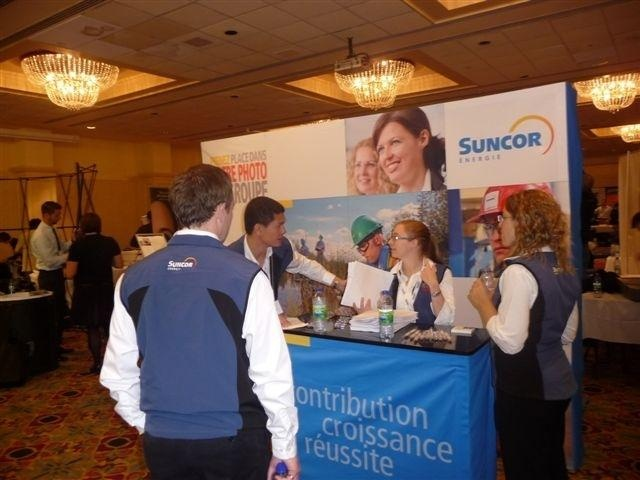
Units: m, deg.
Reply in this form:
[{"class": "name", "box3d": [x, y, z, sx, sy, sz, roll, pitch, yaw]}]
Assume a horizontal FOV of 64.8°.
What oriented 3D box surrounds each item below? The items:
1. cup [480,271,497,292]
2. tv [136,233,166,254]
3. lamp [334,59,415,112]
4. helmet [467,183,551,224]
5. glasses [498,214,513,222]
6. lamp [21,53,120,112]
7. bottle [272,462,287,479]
[{"class": "cup", "box3d": [1.205, 0.286, 3.578, 0.094, 0.136, 0.123, -19, 7, 17]}, {"class": "tv", "box3d": [-2.086, 0.040, 6.241, 0.453, 0.325, 0.110, 4, 0, 38]}, {"class": "lamp", "box3d": [0.874, -2.366, 7.508, 0.798, 0.428, 0.808, 1, 1, -4]}, {"class": "helmet", "box3d": [1.324, -0.253, 3.581, 0.340, 0.193, 0.247, -3, 1, 9]}, {"class": "glasses", "box3d": [1.182, -0.138, 3.199, 0.070, 0.021, 0.069, 6, 1, -7]}, {"class": "lamp", "box3d": [-3.643, -2.279, 7.546, 1.194, 0.597, 1.205, 0, 6, -1]}, {"class": "bottle", "box3d": [-0.182, 1.080, 2.369, 0.065, 0.065, 0.077, 1, 44, -4]}]
